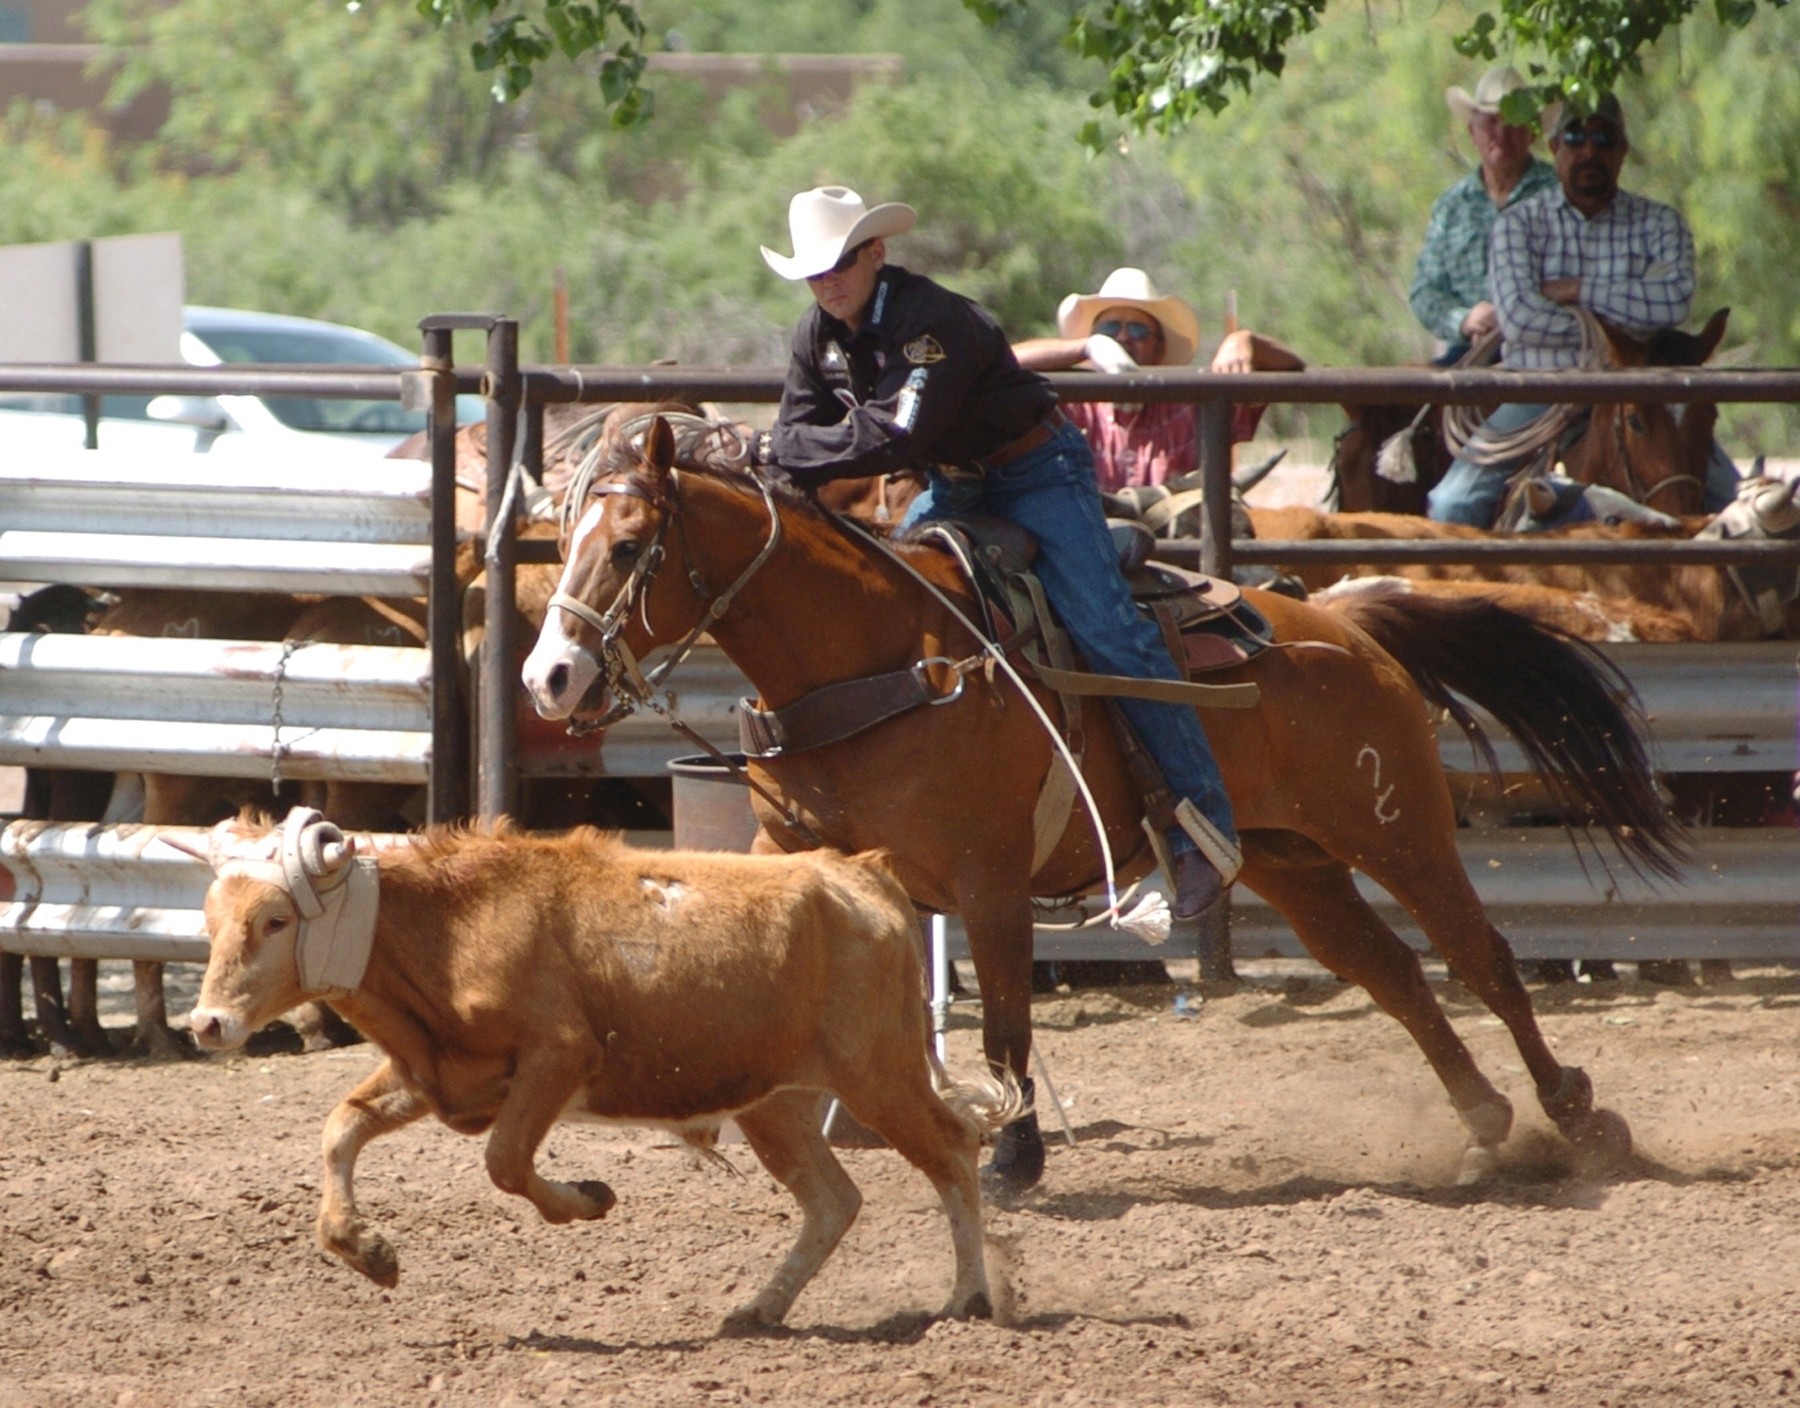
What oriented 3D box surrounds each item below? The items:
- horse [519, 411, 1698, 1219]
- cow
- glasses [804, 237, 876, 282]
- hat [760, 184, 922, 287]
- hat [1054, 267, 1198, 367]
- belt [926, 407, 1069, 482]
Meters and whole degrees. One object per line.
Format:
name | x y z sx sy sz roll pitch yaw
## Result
horse | 1.051 0.458 12.751 5.303 2.683 1.080 1 -6 -27
cow | -0.937 1.286 11.082 2.979 1.592 0.736 4 -12 -28
glasses | -0.195 -1.633 11.959 0.202 0.075 0.169 -37 12 -23
hat | -0.178 -1.787 12.081 0.417 0.177 0.476 -18 10 36
hat | 1.049 -1.907 15.582 0.666 0.269 0.746 2 -6 9
belt | 0.358 -0.949 12.303 0.425 0.206 0.304 -10 -1 -1
